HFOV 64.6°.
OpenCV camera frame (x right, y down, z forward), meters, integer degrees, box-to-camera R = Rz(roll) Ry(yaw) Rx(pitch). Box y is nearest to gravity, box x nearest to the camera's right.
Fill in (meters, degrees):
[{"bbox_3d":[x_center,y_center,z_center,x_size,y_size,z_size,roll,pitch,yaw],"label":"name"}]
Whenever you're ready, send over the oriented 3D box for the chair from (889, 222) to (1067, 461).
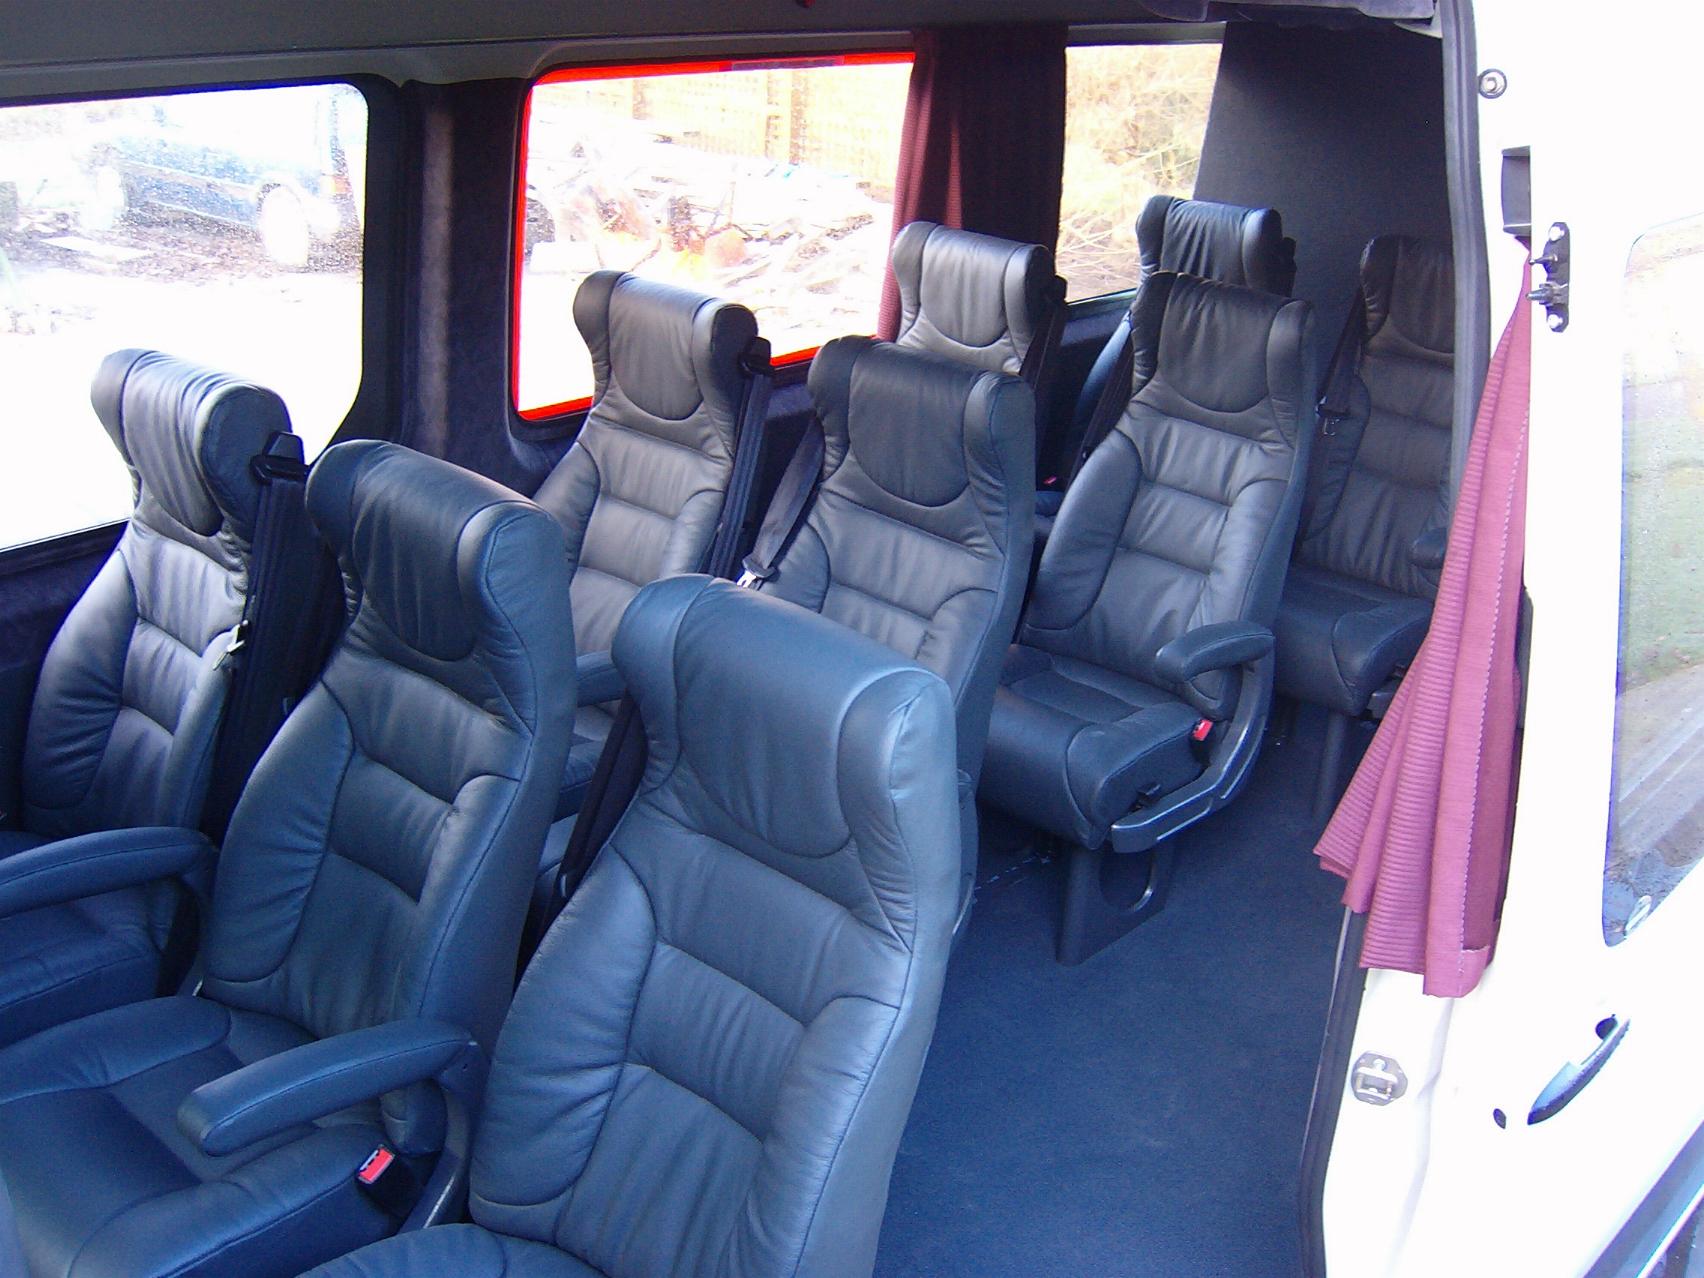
[{"bbox_3d":[0.451,-1.052,4.574,0.565,0.840,0.695,11,24,30],"label":"chair"}]
